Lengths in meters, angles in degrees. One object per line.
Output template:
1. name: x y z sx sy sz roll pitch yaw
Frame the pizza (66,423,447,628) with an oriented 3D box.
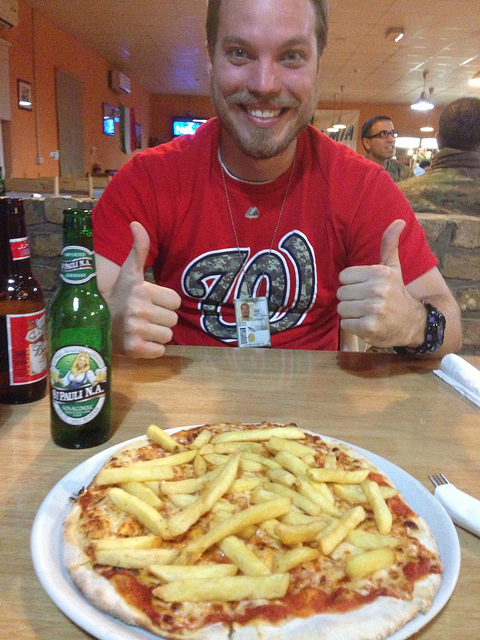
1. pizza: 0.001 0.229 0.636 0.434 0.092 0.397 -4 9 -12

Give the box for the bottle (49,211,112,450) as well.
1. bottle: -0.265 0.023 0.811 0.110 0.382 0.199 -5 10 -15
